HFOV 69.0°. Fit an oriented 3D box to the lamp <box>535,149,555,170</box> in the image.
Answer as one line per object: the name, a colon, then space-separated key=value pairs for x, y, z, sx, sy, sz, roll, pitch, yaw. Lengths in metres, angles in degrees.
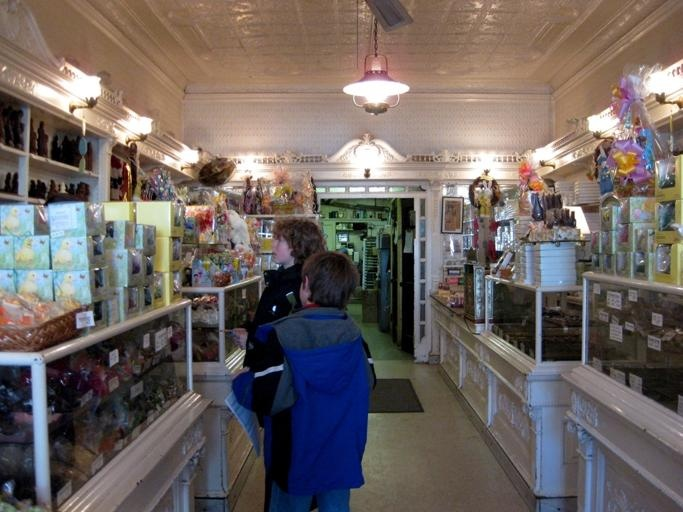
lamp: x=2.651 y=-1.257 z=6.455 sx=0.204 sy=0.278 sz=0.474 roll=0 pitch=4 yaw=15

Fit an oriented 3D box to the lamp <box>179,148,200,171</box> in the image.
lamp: x=-1.938 y=-1.257 z=6.354 sx=0.052 sy=0.240 sz=0.233 roll=6 pitch=7 yaw=26

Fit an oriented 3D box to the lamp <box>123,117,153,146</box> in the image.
lamp: x=-2.007 y=-1.238 z=4.914 sx=0.061 sy=0.272 sz=0.270 roll=10 pitch=11 yaw=31

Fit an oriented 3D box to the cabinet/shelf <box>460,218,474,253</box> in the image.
cabinet/shelf: x=1.829 y=-0.299 z=7.086 sx=0.124 sy=0.503 sz=0.388 roll=-1 pitch=3 yaw=3

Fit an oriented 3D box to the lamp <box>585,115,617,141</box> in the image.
lamp: x=2.566 y=-1.274 z=4.915 sx=0.176 sy=0.231 sz=0.547 roll=0 pitch=4 yaw=12
